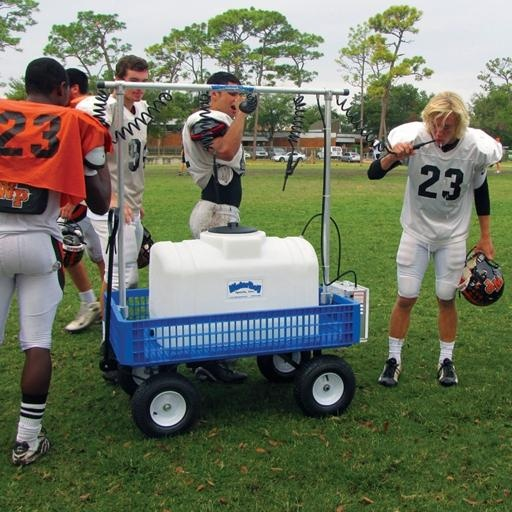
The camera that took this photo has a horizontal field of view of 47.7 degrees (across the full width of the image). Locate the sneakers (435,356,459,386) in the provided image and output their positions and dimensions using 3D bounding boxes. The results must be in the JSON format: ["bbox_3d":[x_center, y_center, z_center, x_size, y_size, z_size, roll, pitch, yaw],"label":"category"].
[{"bbox_3d":[1.393,0.848,4.198,0.088,0.110,0.254,-2,4,10],"label":"sneakers"}]

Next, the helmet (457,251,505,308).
[{"bbox_3d":[1.631,0.142,4.409,0.317,0.395,0.441,-6,21,3],"label":"helmet"}]

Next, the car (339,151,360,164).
[{"bbox_3d":[9.464,-9.811,57.636,1.566,1.524,3.293,0,17,-2],"label":"car"}]

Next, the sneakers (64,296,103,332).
[{"bbox_3d":[-1.610,0.538,5.429,0.154,0.219,0.491,14,26,27],"label":"sneakers"}]

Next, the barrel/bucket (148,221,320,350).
[{"bbox_3d":[-0.123,0.177,3.709,1.008,0.729,0.541,-2,1,-19],"label":"barrel/bucket"}]

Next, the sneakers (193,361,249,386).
[{"bbox_3d":[-0.262,0.757,3.861,0.323,0.128,0.180,8,-9,-39],"label":"sneakers"}]

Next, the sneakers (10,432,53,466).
[{"bbox_3d":[-1.230,1.063,3.208,0.087,0.121,0.255,6,4,9],"label":"sneakers"}]

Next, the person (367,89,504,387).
[{"bbox_3d":[1.291,-0.121,4.200,0.966,2.050,0.538,-3,11,-11],"label":"person"}]
